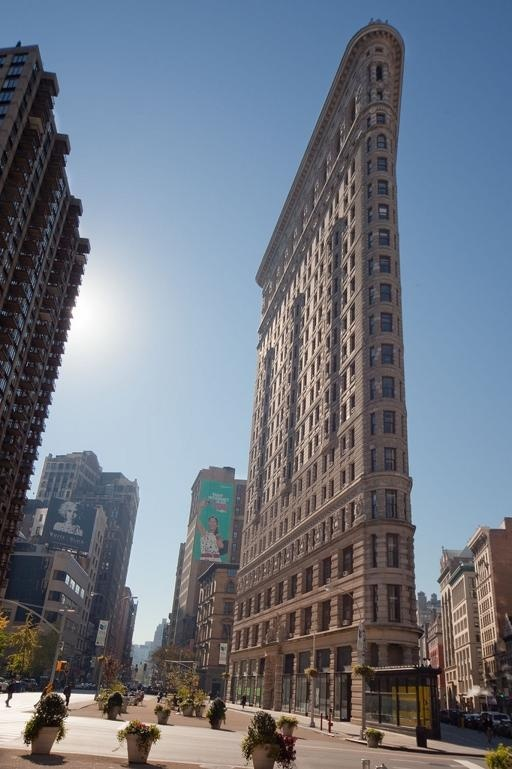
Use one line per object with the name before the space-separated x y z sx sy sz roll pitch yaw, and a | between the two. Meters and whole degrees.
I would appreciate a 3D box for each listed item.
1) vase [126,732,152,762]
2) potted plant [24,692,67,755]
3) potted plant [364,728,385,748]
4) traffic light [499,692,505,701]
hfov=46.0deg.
vase | -3.046 9.453 15.603 0.632 0.632 0.768 7 -34 -10
potted plant | -5.472 8.854 15.814 0.885 1.193 0.897 0 -31 -12
potted plant | 6.097 18.492 31.513 0.870 0.825 1.826 1 -30 9
traffic light | 39.659 50.303 97.300 0.819 1.651 0.864 1 -13 14
